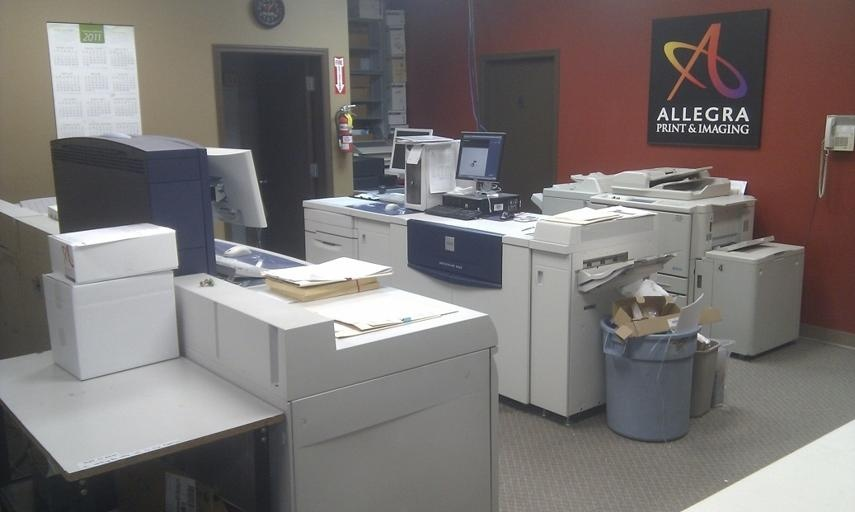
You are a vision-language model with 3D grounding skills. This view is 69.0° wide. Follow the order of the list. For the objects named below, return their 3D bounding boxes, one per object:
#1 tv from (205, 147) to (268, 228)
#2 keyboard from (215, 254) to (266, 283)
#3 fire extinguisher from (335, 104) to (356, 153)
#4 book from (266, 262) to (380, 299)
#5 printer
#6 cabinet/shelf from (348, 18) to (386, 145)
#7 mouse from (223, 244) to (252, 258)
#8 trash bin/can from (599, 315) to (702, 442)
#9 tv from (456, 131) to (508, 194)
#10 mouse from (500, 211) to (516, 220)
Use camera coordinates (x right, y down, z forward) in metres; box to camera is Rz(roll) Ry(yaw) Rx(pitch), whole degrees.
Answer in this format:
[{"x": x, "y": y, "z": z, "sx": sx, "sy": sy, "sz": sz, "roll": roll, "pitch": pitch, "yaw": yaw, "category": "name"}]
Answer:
[{"x": -1.126, "y": -0.383, "z": 3.625, "sx": 0.432, "sy": 0.477, "sz": 0.172, "roll": 12, "pitch": 21, "yaw": 34, "category": "tv"}, {"x": -1.054, "y": 0.076, "z": 3.459, "sx": 0.242, "sy": 0.057, "sz": 0.158, "roll": 12, "pitch": 18, "yaw": 36, "category": "keyboard"}, {"x": -0.897, "y": -1.399, "z": 6.851, "sx": 0.145, "sy": 0.525, "sz": 0.304, "roll": 2, "pitch": 17, "yaw": 8, "category": "fire extinguisher"}, {"x": -0.533, "y": 0.127, "z": 3.265, "sx": 0.306, "sy": 0.070, "sz": 0.300, "roll": -9, "pitch": 14, "yaw": -39, "category": "book"}, {"x": 2.027, "y": -0.155, "z": 5.543, "sx": 1.165, "sy": 1.349, "sz": 2.119, "roll": -16, "pitch": 22, "yaw": -41, "category": "printer"}, {"x": -0.804, "y": -2.358, "z": 8.362, "sx": 0.461, "sy": 1.549, "sz": 0.413, "roll": -2, "pitch": 17, "yaw": -7, "category": "cabinet/shelf"}, {"x": -1.122, "y": -0.021, "z": 3.676, "sx": 0.122, "sy": 0.039, "sz": 0.085, "roll": 4, "pitch": -3, "yaw": -43, "category": "mouse"}, {"x": 1.437, "y": 0.824, "z": 4.313, "sx": 0.744, "sy": 0.739, "sz": 0.716, "roll": 1, "pitch": 6, "yaw": 32, "category": "trash bin/can"}, {"x": 0.403, "y": -0.765, "z": 4.795, "sx": 0.398, "sy": 0.349, "sz": 0.155, "roll": 16, "pitch": 23, "yaw": 42, "category": "tv"}, {"x": 0.622, "y": -0.309, "z": 4.790, "sx": 0.105, "sy": 0.039, "sz": 0.076, "roll": -3, "pitch": 14, "yaw": -27, "category": "mouse"}]
